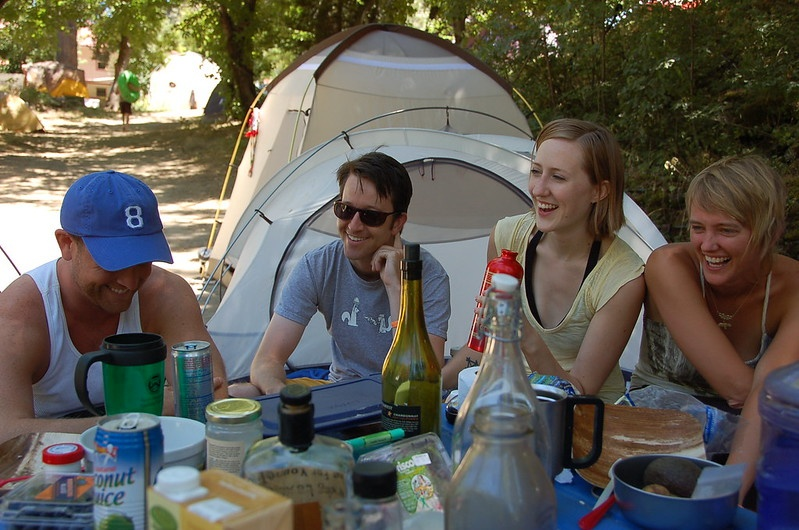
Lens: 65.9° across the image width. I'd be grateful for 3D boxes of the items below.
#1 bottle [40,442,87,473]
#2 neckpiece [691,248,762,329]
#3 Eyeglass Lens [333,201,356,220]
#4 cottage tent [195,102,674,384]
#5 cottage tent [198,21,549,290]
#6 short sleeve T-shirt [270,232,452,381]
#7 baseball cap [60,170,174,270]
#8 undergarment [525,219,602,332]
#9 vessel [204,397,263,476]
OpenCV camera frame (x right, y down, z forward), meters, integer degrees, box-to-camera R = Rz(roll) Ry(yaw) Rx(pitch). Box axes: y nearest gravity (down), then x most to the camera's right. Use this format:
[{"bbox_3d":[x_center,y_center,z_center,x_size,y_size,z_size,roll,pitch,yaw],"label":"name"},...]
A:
[{"bbox_3d":[-0.833,0.483,1.532,0.079,0.074,0.080,2,-3,-6],"label":"bottle"},{"bbox_3d":[1.372,0.092,2.574,0.353,0.450,0.034,6,40,30],"label":"neckpiece"},{"bbox_3d":[-0.254,-0.236,2.854,0.087,0.040,0.093,22,-5,18],"label":"Eyeglass Lens"},{"bbox_3d":[-0.078,-0.260,4.547,2.238,1.100,2.220,1,1,-3],"label":"cottage tent"},{"bbox_3d":[-0.401,-0.916,6.819,2.899,2.068,2.972,0,11,5],"label":"cottage tent"},{"bbox_3d":[-0.128,0.210,3.033,1.018,0.843,0.598,0,-6,6],"label":"short sleeve T-shirt"},{"bbox_3d":[-1.037,-0.163,2.264,0.359,0.369,0.222,-1,5,-29],"label":"baseball cap"},{"bbox_3d":[0.757,0.062,2.783,0.300,0.489,0.086,5,-4,8],"label":"undergarment"},{"bbox_3d":[-0.405,0.411,1.504,0.150,0.233,0.154,0,0,-10],"label":"vessel"}]
